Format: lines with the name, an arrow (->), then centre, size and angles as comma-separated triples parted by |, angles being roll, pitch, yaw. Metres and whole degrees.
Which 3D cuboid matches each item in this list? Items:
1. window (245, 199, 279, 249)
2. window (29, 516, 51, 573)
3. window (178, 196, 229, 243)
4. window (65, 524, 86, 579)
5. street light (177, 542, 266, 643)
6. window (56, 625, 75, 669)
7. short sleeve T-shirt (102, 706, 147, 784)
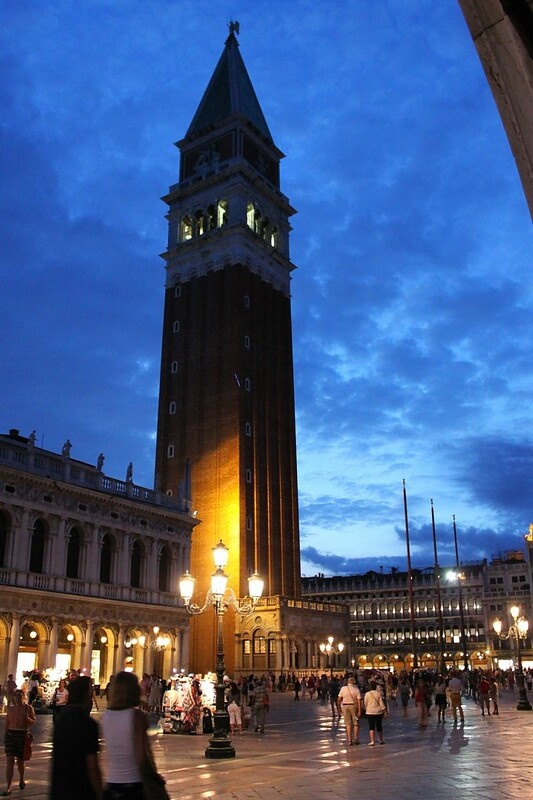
window -> -0.560, -18.194, 69.331 | 0.459, 3.615, 6.171 | -13, -34, 25
window -> -12.418, 8.062, 36.713 | 0.849, 2.827, 0.770 | 0, -18, -9
window -> -6.209, -18.334, 68.279 | 5.900, 3.499, 0.478 | -23, -41, 34
window -> -11.317, 8.945, 39.115 | 0.247, 2.843, 1.148 | -15, -23, 22
street light -> -1.317, 5.050, 18.992 | 2.067, 2.163, 2.210 | -3, -20, 0
window -> -11.315, 13.995, 37.809 | 0.907, 2.281, 1.869 | 2, -19, -17
short sleeve T-shirt -> -1.119, 2.602, 5.022 | 0.166, 0.510, 0.437 | 11, -23, -38
